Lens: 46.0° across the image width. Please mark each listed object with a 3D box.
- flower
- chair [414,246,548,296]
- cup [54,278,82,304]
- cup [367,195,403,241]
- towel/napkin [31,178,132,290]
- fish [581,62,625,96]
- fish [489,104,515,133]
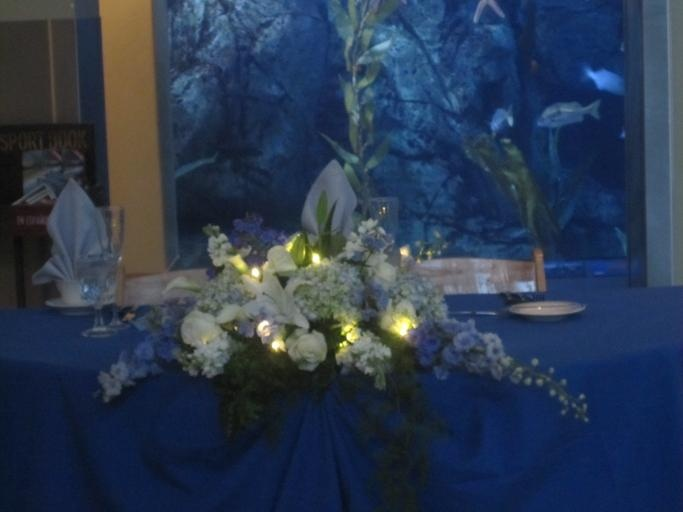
[{"bbox_3d":[-0.027,0.187,1.955,0.810,0.599,0.832,6,2,30],"label":"flower"},{"bbox_3d":[0.506,0.067,2.799,0.384,0.150,0.227,-3,2,4],"label":"chair"},{"bbox_3d":[-0.785,0.099,2.315,0.080,0.075,0.072,1,0,-20],"label":"cup"},{"bbox_3d":[0.132,-0.116,2.398,0.120,0.190,0.112,-1,9,0],"label":"cup"},{"bbox_3d":[-0.735,-0.082,2.339,0.258,0.318,0.280,0,5,-9],"label":"towel/napkin"},{"bbox_3d":[1.597,-1.064,4.888,0.233,0.185,0.043,-4,11,0],"label":"fish"},{"bbox_3d":[0.979,-0.826,4.905,0.146,0.146,0.029,-6,11,-12],"label":"fish"}]
